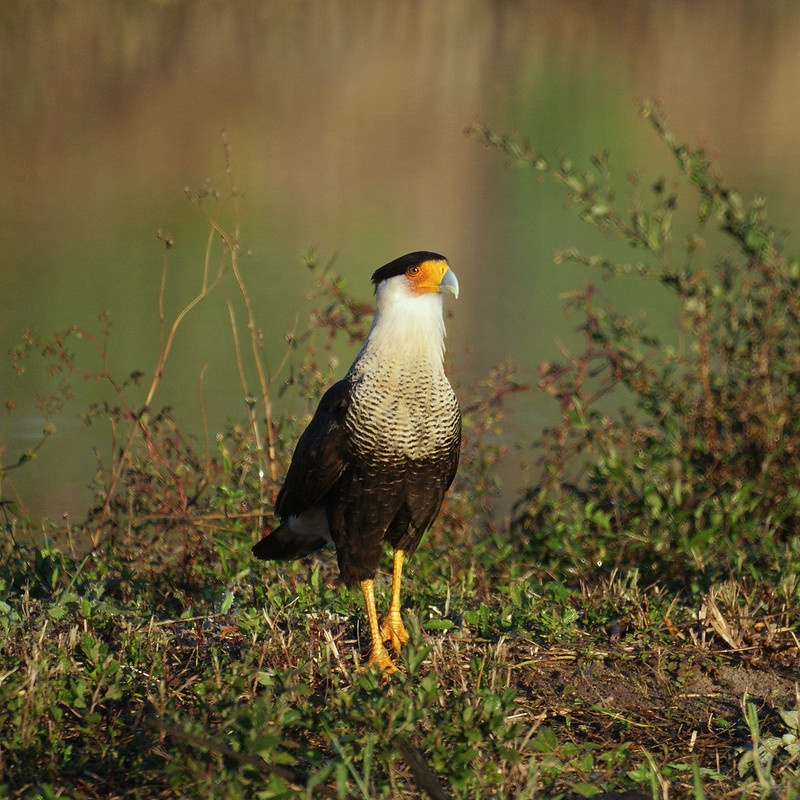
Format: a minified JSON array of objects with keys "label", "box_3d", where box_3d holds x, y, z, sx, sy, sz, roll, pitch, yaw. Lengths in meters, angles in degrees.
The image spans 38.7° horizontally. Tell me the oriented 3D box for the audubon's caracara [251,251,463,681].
[{"label":"audubon's caracara","box_3d":[-0.143,0.096,5.240,0.732,1.569,0.473,16,19,28]}]
